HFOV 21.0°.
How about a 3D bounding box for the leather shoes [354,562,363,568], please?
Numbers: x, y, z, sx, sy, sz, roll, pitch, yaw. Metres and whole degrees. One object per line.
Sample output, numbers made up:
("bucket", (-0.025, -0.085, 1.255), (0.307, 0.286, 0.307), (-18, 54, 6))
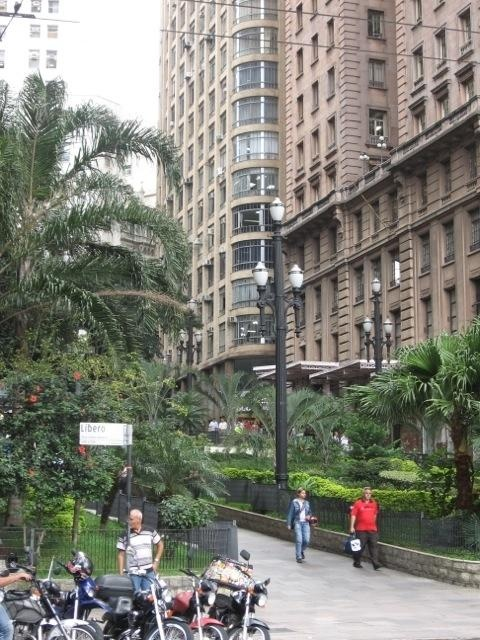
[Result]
("leather shoes", (2.158, 4.489, 23.763), (0.141, 0.163, 0.070), (-1, 0, -1))

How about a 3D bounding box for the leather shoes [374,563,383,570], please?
("leather shoes", (2.525, 4.492, 23.636), (0.103, 0.136, 0.283), (-5, -12, 26))
